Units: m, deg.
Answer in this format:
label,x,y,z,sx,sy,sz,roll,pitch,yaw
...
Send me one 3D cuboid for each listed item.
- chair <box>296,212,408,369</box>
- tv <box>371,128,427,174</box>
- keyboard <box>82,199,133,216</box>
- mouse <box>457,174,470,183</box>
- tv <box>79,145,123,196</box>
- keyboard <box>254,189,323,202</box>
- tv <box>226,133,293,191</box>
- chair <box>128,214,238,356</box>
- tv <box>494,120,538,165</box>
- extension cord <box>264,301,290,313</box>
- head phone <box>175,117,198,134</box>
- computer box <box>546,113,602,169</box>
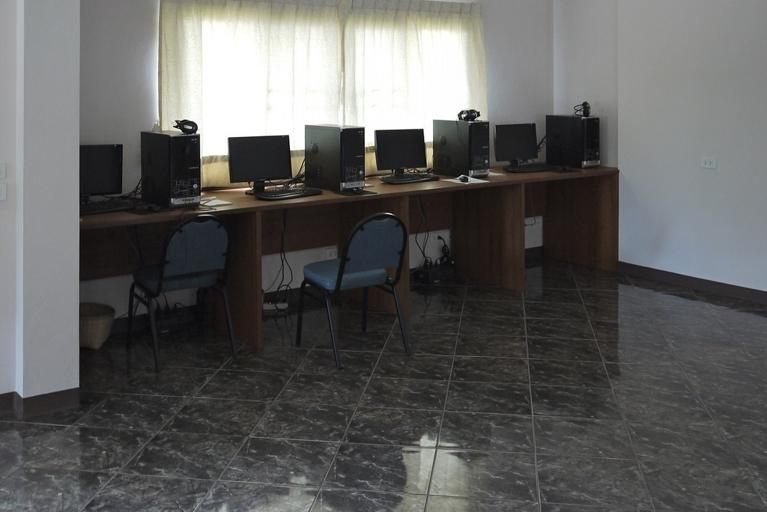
label,x,y,z,sx,sy,sz,roll,pitch,yaw
chair,-0.239,0.197,4.621,0.658,1.150,0.757,-8,14,-34
tv,0.121,-1.013,5.798,0.431,0.322,0.070,-3,3,-23
keyboard,-2.052,-0.371,4.479,0.341,0.062,0.458,-11,18,-25
mouse,0.731,-0.717,5.640,0.093,0.086,0.070,-4,5,-2
tv,-2.131,-0.649,4.529,0.372,0.374,0.033,-11,18,-38
keyboard,-0.788,-0.496,4.939,0.538,0.055,0.332,-4,16,-5
tv,-1.071,-0.801,5.122,0.489,0.433,0.158,-5,3,-35
chair,-1.533,0.206,4.588,0.718,1.193,0.762,-6,26,-38
tv,1.366,-1.189,6.367,0.473,0.421,0.123,-1,0,-18
extension cord,-0.969,0.444,5.423,0.231,0.077,0.133,-7,16,-16
head phone,-1.520,-0.988,4.629,0.174,0.124,0.080,10,9,-7
computer box,2.015,-1.187,6.458,0.316,0.552,0.592,-8,14,-20
